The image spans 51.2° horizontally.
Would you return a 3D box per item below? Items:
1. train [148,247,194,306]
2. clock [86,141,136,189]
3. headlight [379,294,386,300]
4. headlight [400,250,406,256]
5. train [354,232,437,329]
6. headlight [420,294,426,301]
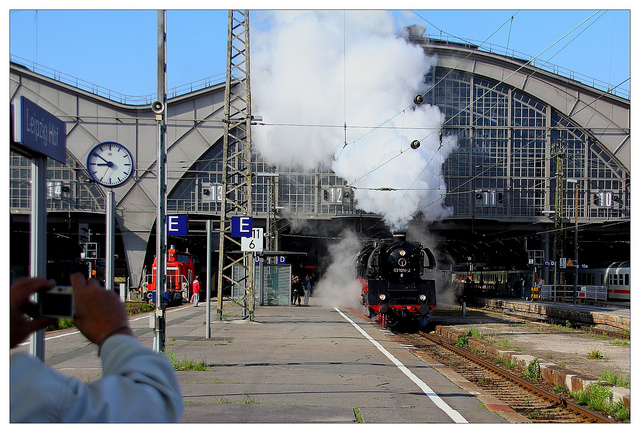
[{"bbox_3d":[-10.341,4.287,47.169,2.540,4.159,7.475,4,-7,-7],"label":"train"},{"bbox_3d":[-4.300,-1.049,13.652,0.900,0.924,0.425,1,0,-10],"label":"clock"},{"bbox_3d":[2.689,3.489,28.842,0.206,0.223,0.053,-2,-3,-1],"label":"headlight"},{"bbox_3d":[3.692,1.635,29.911,0.206,0.224,0.051,1,-5,-1],"label":"headlight"},{"bbox_3d":[3.609,2.972,33.448,3.397,3.129,9.929,0,-2,1],"label":"train"},{"bbox_3d":[4.469,3.527,28.981,0.246,0.268,0.059,-1,-3,12],"label":"headlight"}]
